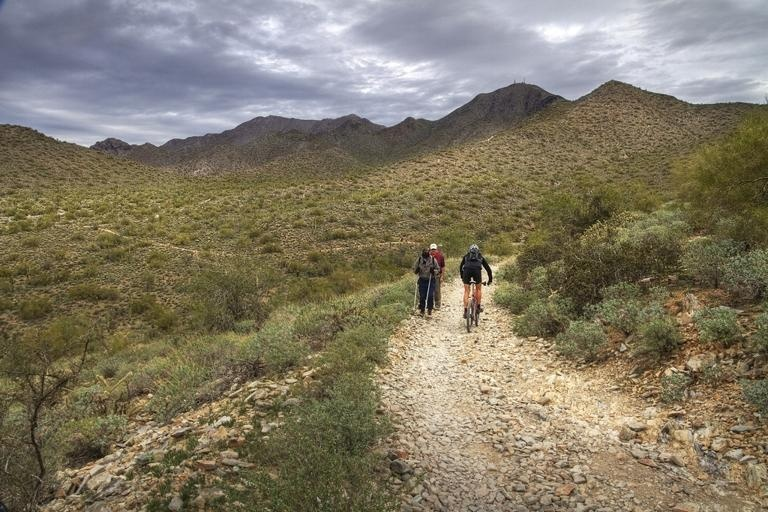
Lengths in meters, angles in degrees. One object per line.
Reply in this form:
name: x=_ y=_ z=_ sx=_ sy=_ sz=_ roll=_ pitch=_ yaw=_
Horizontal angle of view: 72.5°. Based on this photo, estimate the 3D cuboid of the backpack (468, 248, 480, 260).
backpack: x=3.082 y=-0.105 z=18.087 sx=0.388 sy=0.418 sz=0.261 roll=2 pitch=11 yaw=10

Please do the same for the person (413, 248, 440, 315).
person: x=1.534 y=0.929 z=19.093 sx=0.847 sy=2.515 sz=1.031 roll=1 pitch=11 yaw=4

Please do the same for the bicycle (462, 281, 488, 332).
bicycle: x=3.038 y=1.636 z=18.025 sx=0.624 sy=1.687 sz=1.217 roll=6 pitch=13 yaw=28

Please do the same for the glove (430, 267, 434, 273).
glove: x=1.697 y=0.519 z=18.575 sx=0.145 sy=0.165 sz=0.149 roll=1 pitch=-4 yaw=-22
